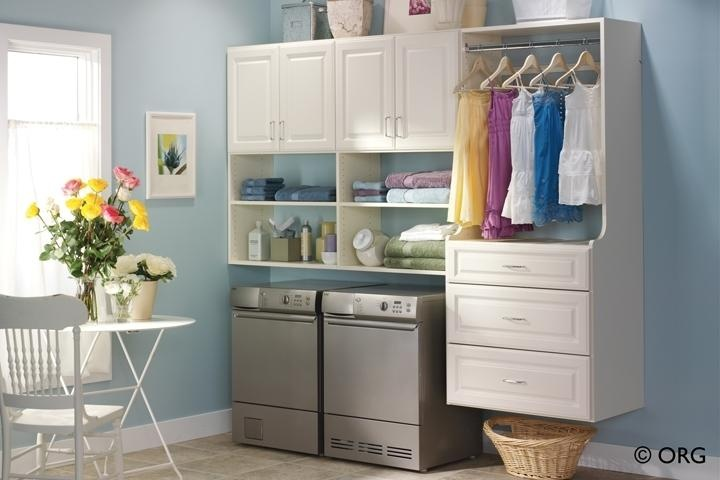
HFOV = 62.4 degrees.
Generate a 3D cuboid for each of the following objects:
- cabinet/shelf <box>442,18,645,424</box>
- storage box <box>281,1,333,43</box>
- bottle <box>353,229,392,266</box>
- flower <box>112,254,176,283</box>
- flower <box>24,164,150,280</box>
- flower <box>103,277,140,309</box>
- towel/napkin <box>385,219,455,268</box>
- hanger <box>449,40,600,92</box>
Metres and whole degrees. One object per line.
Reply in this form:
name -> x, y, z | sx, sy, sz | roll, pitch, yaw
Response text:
cabinet/shelf -> 1.235, -0.166, 4.026 | 1.146, 2.604, 0.684 | -1, 1, 32
storage box -> -0.467, -1.763, 4.852 | 0.437, 0.323, 0.163 | -1, 1, 18
bottle -> 0.066, 0.060, 4.553 | 0.308, 0.280, 0.221 | -6, 2, -34
flower -> -1.347, 0.170, 3.770 | 0.225, 0.104, 0.219 | 6, -1, 1
flower -> -1.631, -0.109, 3.780 | 0.619, 0.589, 0.628 | -4, 8, -34
flower -> -1.464, 0.327, 3.677 | 0.204, 0.192, 0.191 | 0, -5, 1
towel/napkin -> 0.422, 0.025, 4.292 | 0.382, 0.173, 0.372 | 2, 5, 25
hanger -> 1.151, -1.159, 4.047 | 0.725, 0.255, 0.485 | 5, 12, 29
